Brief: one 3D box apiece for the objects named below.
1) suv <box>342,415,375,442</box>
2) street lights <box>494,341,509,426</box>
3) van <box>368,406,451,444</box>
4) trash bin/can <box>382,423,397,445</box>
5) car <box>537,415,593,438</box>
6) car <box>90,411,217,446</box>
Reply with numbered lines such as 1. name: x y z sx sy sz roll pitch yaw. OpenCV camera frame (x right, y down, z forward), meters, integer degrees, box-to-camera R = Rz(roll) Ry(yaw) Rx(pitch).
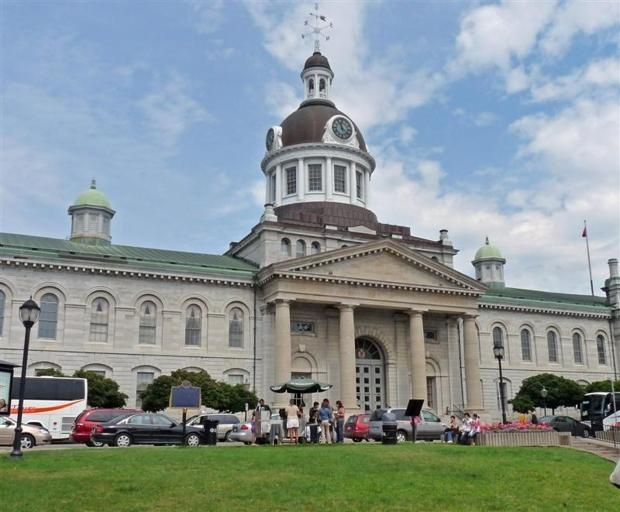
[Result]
1. suv: 2.543 9.184 38.919 1.944 0.812 1.057 1 -9 -20
2. street lights: 13.417 8.870 50.546 0.908 4.227 0.813 -5 -14 9
3. van: 5.434 9.196 38.081 4.840 1.667 2.488 2 -9 -24
4. trash bin/can: 3.625 7.762 31.717 0.839 0.762 0.781 3 -16 -14
5. car: 15.638 10.288 43.965 1.982 1.254 4.373 -11 -19 33
6. car: -7.338 7.716 32.414 4.750 1.304 1.772 1 -9 -18
